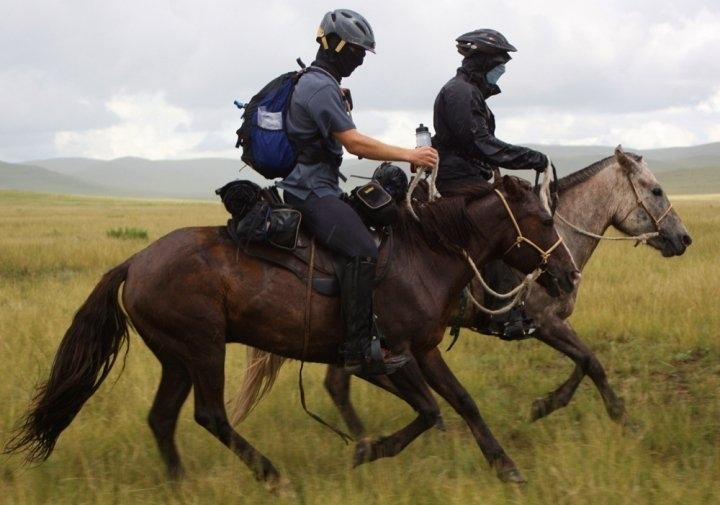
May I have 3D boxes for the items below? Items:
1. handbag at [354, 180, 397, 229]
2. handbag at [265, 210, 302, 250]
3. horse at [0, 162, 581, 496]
[{"bbox_3d":[0.168,-0.521,7.147,0.361,0.488,0.451,-41,38,-13],"label":"handbag"},{"bbox_3d":[-0.800,-0.235,6.920,0.360,0.442,0.251,-1,10,-8],"label":"handbag"},{"bbox_3d":[-0.743,0.989,7.375,6.540,3.498,1.336,-1,-2,1],"label":"horse"}]
